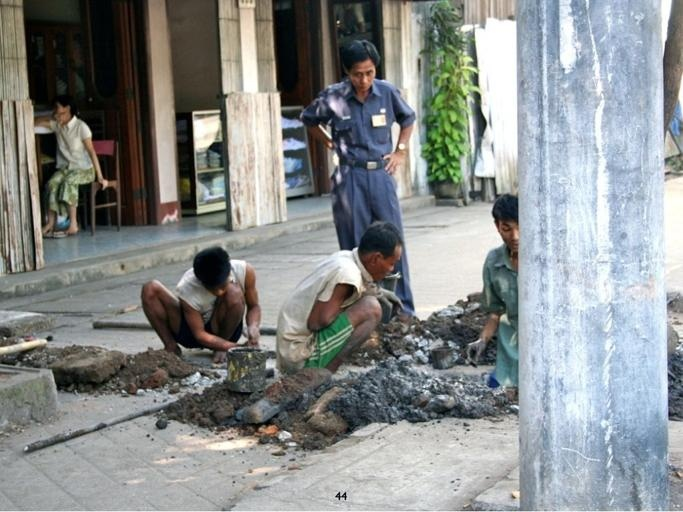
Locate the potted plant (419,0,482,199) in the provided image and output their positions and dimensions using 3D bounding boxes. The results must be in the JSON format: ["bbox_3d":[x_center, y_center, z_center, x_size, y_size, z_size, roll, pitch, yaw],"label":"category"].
[{"bbox_3d":[1.614,-2.294,15.746,0.849,2.912,0.870,-1,13,6],"label":"potted plant"}]

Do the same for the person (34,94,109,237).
[{"bbox_3d":[-3.082,-1.056,12.206,0.780,1.569,0.518,-5,13,-13],"label":"person"}]

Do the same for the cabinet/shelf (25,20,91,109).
[{"bbox_3d":[-3.476,-2.365,13.121,0.846,1.062,0.239,3,14,23],"label":"cabinet/shelf"}]

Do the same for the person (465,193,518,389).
[{"bbox_3d":[0.945,0.184,6.547,0.276,1.139,0.646,-3,13,-5],"label":"person"}]

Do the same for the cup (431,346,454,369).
[{"bbox_3d":[0.652,0.633,6.787,0.143,0.124,0.124,-12,16,-36],"label":"cup"}]

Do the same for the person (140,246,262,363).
[{"bbox_3d":[-0.870,0.297,7.217,0.793,0.844,0.597,7,16,35],"label":"person"}]

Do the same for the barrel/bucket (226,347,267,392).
[{"bbox_3d":[-0.562,0.674,6.423,0.224,0.219,0.236,1,0,0],"label":"barrel/bucket"}]
